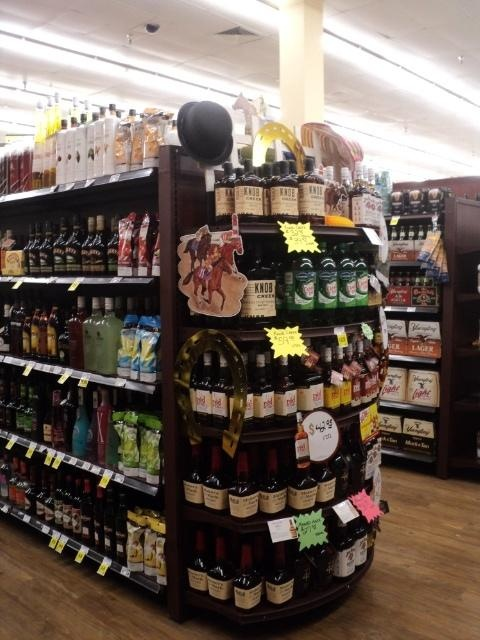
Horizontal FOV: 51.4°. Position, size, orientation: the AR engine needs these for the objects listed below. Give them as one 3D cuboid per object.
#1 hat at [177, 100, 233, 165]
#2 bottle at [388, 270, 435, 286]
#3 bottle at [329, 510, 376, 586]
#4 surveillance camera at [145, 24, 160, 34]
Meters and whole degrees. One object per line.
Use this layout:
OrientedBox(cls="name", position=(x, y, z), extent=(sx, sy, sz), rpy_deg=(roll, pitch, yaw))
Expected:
OrientedBox(cls="hat", position=(-0.115, -0.671, 1.799), extent=(0.228, 0.233, 0.074), rpy_deg=(0, -3, -30))
OrientedBox(cls="bottle", position=(1.361, -0.326, 3.996), extent=(0.238, 0.143, 0.227), rpy_deg=(5, 2, 0))
OrientedBox(cls="bottle", position=(0.444, 0.919, 2.064), extent=(0.087, 0.277, 0.362), rpy_deg=(-3, -3, 37))
OrientedBox(cls="surveillance camera", position=(-0.955, -3.177, 5.448), extent=(0.079, 0.093, 0.039), rpy_deg=(-2, 10, 5))
